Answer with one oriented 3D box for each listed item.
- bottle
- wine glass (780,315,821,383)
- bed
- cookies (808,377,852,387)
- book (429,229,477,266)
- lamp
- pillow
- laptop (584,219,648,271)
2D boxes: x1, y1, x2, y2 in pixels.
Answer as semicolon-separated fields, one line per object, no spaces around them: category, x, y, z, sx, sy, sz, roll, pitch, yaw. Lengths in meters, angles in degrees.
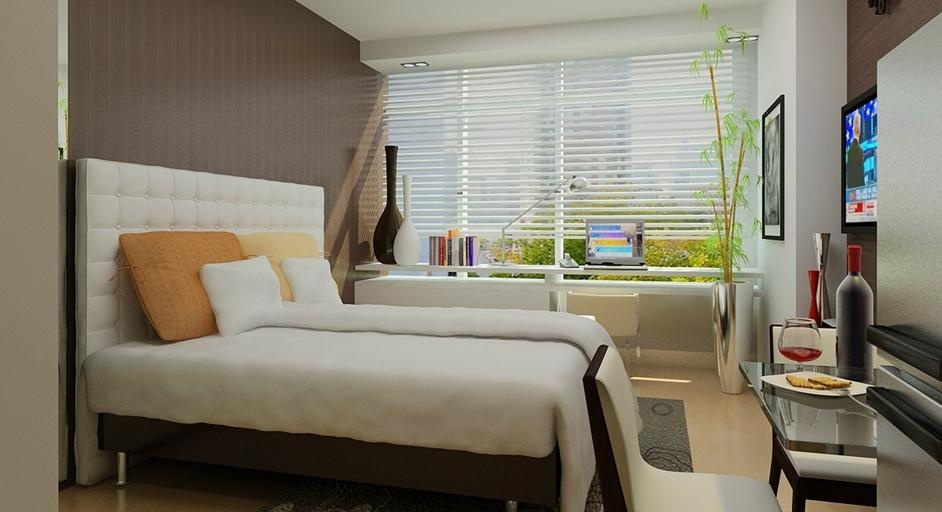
bottle;1.831;0.254;2.971;0.187;0.582;0.344;8;15;30
wine glass;1.558;0.433;2.986;0.207;0.211;0.181;6;-14;-2
bed;-0.715;0.677;4.324;2.670;1.564;2.540;-1;-3;12
cookies;1.629;0.567;2.855;0.094;0.021;0.063;4;2;43
book;-0.170;-0.033;6.476;0.570;0.445;0.293;0;-2;20
lamp;0.701;-0.356;6.313;1.001;0.899;0.240;2;-2;13
pillow;-1.878;0.167;4.183;0.304;0.669;1.237;-27;-11;29
laptop;1.389;-0.108;5.794;0.619;0.454;0.416;-1;8;-10
